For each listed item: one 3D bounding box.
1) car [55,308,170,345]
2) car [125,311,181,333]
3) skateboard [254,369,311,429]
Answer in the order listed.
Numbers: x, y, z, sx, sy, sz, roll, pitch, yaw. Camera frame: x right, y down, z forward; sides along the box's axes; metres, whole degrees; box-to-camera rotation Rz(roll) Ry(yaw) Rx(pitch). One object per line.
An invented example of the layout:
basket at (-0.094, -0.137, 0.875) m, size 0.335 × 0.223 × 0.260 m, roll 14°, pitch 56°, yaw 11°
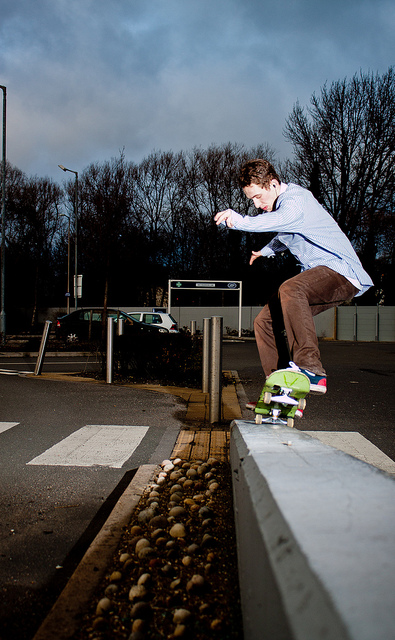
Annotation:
car at (-3.561, 0.163, 18.547) m, size 4.009 × 1.478 × 1.962 m, roll -2°, pitch 0°, yaw -1°
car at (-1.766, -0.009, 20.486) m, size 1.670 × 0.852 × 1.029 m, roll 5°, pitch 1°, yaw 11°
skateboard at (0.482, 0.463, 2.817) m, size 0.311 × 0.361 × 0.456 m, roll -1°, pitch -2°, yaw -1°
